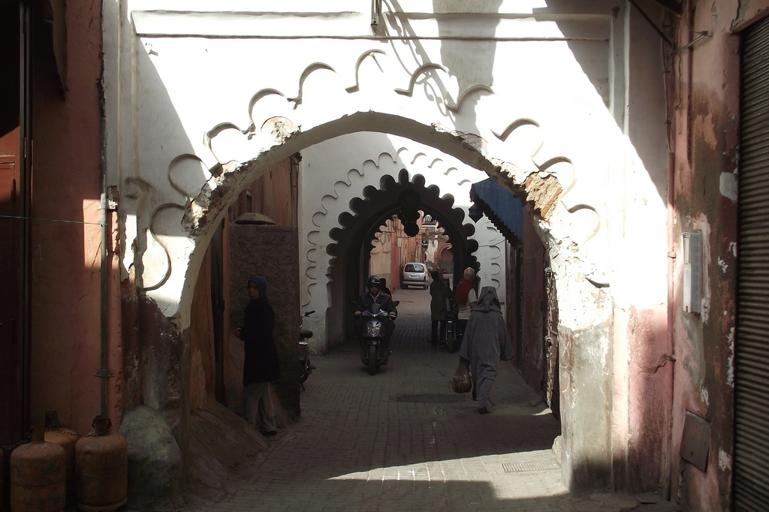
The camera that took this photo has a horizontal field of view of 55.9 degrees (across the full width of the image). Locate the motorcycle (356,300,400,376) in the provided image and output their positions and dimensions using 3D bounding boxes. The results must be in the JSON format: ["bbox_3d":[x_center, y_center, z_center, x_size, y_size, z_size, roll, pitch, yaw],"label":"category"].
[{"bbox_3d":[-0.164,1.482,13.432,0.669,1.314,0.939,-2,-4,10],"label":"motorcycle"}]

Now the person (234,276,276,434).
[{"bbox_3d":[-1.618,1.267,9.266,0.499,1.992,0.430,0,-4,-11],"label":"person"}]

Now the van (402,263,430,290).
[{"bbox_3d":[1.721,1.099,41.608,1.439,1.484,1.759,-1,-4,2],"label":"van"}]

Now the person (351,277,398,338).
[{"bbox_3d":[-0.165,0.847,14.184,0.681,0.817,1.162,2,2,2],"label":"person"}]
